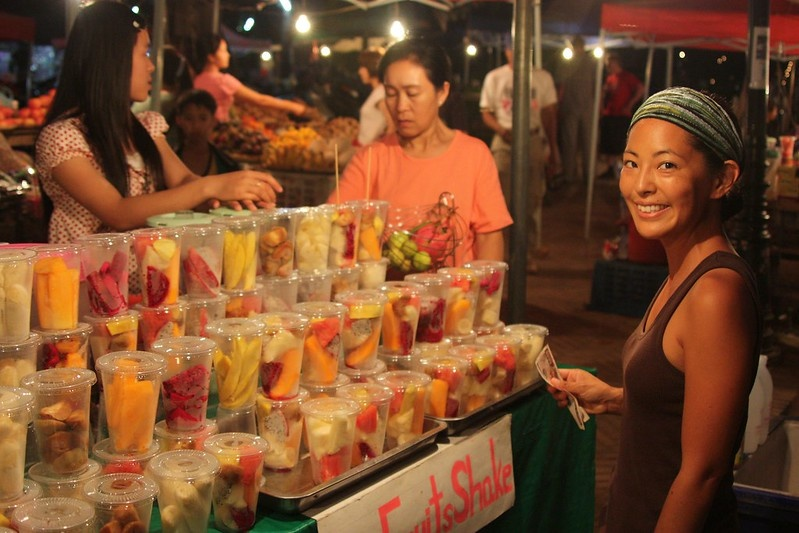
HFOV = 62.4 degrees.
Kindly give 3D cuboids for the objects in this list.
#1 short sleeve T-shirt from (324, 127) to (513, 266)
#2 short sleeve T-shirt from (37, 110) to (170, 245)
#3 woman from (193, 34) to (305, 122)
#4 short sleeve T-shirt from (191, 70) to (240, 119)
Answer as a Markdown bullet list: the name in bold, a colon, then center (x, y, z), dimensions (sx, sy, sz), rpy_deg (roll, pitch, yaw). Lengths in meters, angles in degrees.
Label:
- **short sleeve T-shirt**: center (0.111, -0.425, 4.026), dimensions (1.368, 1.059, 0.734), rpy_deg (-1, 11, 4)
- **short sleeve T-shirt**: center (-1.693, -0.395, 3.594), dimensions (0.302, 0.512, 0.555), rpy_deg (-2, 12, 21)
- **woman**: center (-1.710, -2.187, 7.604), dimensions (1.256, 0.790, 0.537), rpy_deg (14, 39, 10)
- **short sleeve T-shirt**: center (-2.118, -2.028, 7.747), dimensions (0.390, 0.654, 0.709), rpy_deg (1, 12, 21)
